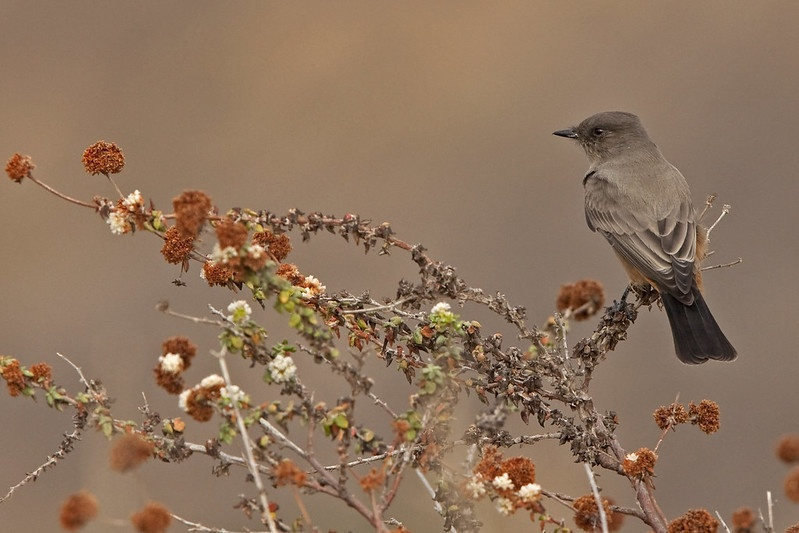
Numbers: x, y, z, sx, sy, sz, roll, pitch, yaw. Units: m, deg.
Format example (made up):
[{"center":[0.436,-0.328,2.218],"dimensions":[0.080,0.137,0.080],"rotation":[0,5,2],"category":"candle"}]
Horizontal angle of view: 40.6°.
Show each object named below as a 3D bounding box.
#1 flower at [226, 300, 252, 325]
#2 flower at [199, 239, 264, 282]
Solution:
[{"center":[-0.756,0.203,5.049],"dimensions":[0.106,0.133,0.136],"rotation":[4,-58,4],"category":"flower"},{"center":[-0.749,-0.026,4.888],"dimensions":[0.177,0.155,0.107],"rotation":[-15,-82,-5],"category":"flower"}]
